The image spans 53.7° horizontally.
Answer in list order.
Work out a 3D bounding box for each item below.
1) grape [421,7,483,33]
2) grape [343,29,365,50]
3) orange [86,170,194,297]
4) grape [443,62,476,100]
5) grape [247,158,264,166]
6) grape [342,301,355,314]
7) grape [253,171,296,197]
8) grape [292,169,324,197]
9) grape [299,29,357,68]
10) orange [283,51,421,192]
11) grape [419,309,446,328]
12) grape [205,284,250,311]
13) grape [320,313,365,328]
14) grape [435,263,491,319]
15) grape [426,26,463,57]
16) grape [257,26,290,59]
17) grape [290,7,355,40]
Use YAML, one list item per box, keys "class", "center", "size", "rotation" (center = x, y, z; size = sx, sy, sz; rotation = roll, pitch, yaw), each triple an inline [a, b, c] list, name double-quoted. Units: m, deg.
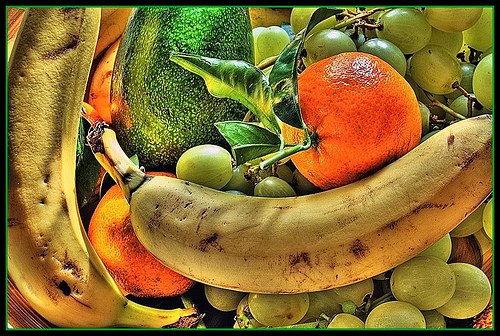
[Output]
- class: "grape"
  center: [0.342, -0.253, 0.835]
  size: [0.066, 0.051, 0.052]
  rotation: [-5, 80, -3]
- class: "grape"
  center: [0.184, -0.224, 0.849]
  size: [0.036, 0.029, 0.020]
  rotation: [35, 97, -19]
- class: "orange"
  center: [-0.223, 0.126, 0.916]
  size: [0.146, 0.151, 0.178]
  rotation: [-10, 74, 25]
- class: "grape"
  center: [0.378, -0.156, 0.875]
  size: [0.047, 0.064, 0.050]
  rotation: [-18, 99, 6]
- class: "grape"
  center: [0.010, -0.011, 0.858]
  size: [0.033, 0.009, 0.012]
  rotation: [-11, 89, -25]
- class: "grape"
  center: [0.167, 0.237, 0.836]
  size: [0.020, 0.016, 0.016]
  rotation: [-2, 84, 30]
- class: "grape"
  center: [0.047, 0.029, 0.848]
  size: [0.041, 0.074, 0.036]
  rotation: [-50, 39, 32]
- class: "grape"
  center: [0.100, 0.020, 0.888]
  size: [0.049, 0.039, 0.029]
  rotation: [34, 101, 39]
- class: "grape"
  center: [0.142, -0.197, 0.853]
  size: [0.100, 0.078, 0.081]
  rotation: [5, 94, -3]
- class: "orange"
  center: [0.156, -0.081, 0.777]
  size: [0.213, 0.088, 0.194]
  rotation: [-22, 82, 0]
- class: "grape"
  center: [0.310, 0.254, 0.834]
  size: [0.036, 0.012, 0.037]
  rotation: [21, 77, -24]
- class: "grape"
  center: [-0.039, 0.242, 0.903]
  size: [0.094, 0.101, 0.033]
  rotation: [-11, 62, 19]
- class: "grape"
  center: [0.160, 0.259, 0.835]
  size: [0.051, 0.028, 0.019]
  rotation: [1, 52, 20]
- class: "grape"
  center: [0.367, 0.207, 0.833]
  size: [0.098, 0.076, 0.078]
  rotation: [4, 82, -4]
- class: "grape"
  center: [0.341, -0.223, 0.860]
  size: [0.049, 0.048, 0.061]
  rotation: [-3, 97, 3]
- class: "grape"
  center: [0.045, -0.236, 0.925]
  size: [0.064, 0.065, 0.077]
  rotation: [-1, 98, 8]
- class: "grape"
  center: [0.128, -0.266, 0.870]
  size: [0.078, 0.060, 0.062]
  rotation: [-3, 117, 2]
